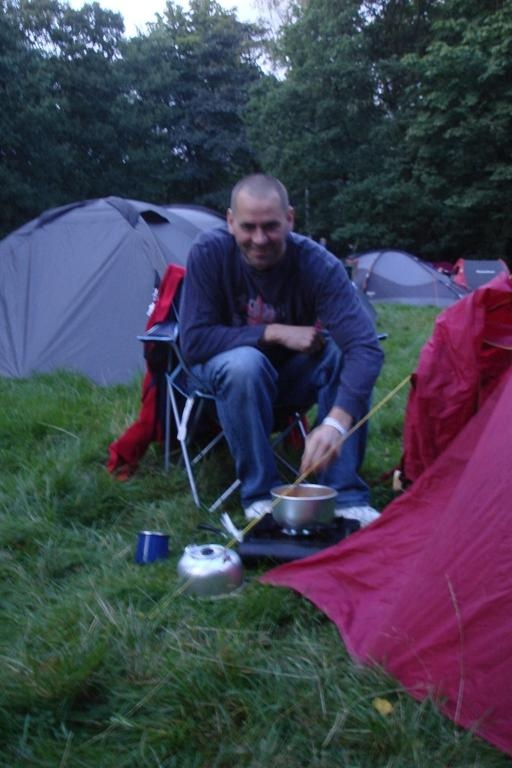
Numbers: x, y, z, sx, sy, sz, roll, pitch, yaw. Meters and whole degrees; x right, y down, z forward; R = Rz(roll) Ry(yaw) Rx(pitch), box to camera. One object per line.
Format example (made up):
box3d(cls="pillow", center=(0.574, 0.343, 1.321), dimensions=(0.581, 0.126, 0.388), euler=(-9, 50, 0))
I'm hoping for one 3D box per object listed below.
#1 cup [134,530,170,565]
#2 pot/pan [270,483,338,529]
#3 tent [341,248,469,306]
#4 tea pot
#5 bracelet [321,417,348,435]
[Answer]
box3d(cls="cup", center=(-0.290, 0.450, 1.788), dimensions=(0.072, 0.080, 0.079), euler=(4, -16, -7))
box3d(cls="pot/pan", center=(0.119, 0.317, 1.824), dimensions=(0.126, 0.094, 0.133), euler=(1, -6, -36))
box3d(cls="tent", center=(2.539, -1.739, 10.999), dimensions=(1.713, 0.774, 1.689), euler=(8, 16, -4))
box3d(cls="tea pot", center=(-0.115, 0.458, 1.598), dimensions=(0.150, 0.082, 0.120), euler=(-3, 11, -3))
box3d(cls="bracelet", center=(0.225, 0.117, 1.861), dimensions=(0.061, 0.034, 0.046), euler=(36, -2, -24))
